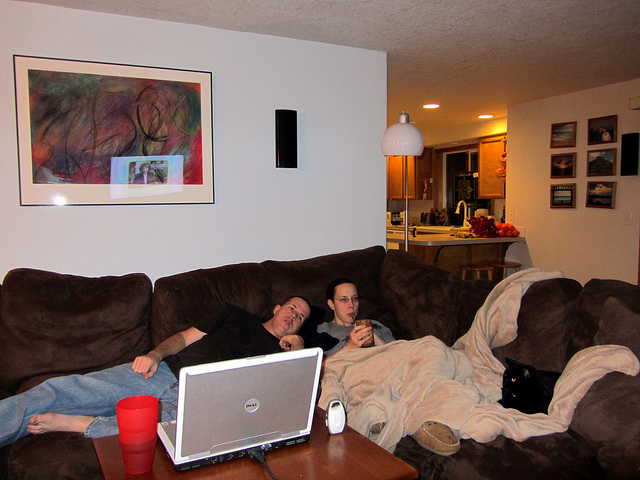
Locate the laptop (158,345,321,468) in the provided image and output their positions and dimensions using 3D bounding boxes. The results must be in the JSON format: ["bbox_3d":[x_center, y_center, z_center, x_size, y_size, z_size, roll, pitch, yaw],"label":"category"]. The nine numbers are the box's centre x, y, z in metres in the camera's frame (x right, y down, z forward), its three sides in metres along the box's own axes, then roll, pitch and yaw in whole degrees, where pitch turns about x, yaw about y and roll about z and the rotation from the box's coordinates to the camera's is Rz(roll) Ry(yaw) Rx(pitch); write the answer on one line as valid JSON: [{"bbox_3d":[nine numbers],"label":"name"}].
[{"bbox_3d":[-0.333,0.604,2.045,0.579,0.435,0.449,0,14,-23],"label":"laptop"}]

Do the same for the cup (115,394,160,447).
[{"bbox_3d":[-0.693,0.713,1.868,0.152,0.179,0.147,-2,0,0],"label":"cup"}]

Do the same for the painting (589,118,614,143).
[{"bbox_3d":[3.051,-1.190,5.270,0.028,0.247,0.276,-4,7,-25],"label":"painting"}]

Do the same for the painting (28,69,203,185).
[{"bbox_3d":[-1.485,-0.801,3.421,0.841,0.604,0.015,-1,2,-22],"label":"painting"}]

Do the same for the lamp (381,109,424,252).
[{"bbox_3d":[0.682,-0.457,4.038,0.313,1.169,0.758,0,7,8],"label":"lamp"}]

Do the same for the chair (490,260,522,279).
[{"bbox_3d":[2.114,0.330,5.577,0.216,0.281,0.218,-1,1,-35],"label":"chair"}]

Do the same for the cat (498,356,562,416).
[{"bbox_3d":[1.099,0.759,2.542,0.269,0.132,0.228,6,13,1],"label":"cat"}]

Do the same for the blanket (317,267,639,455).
[{"bbox_3d":[0.746,0.759,2.613,1.062,0.424,1.024,-5,16,-9],"label":"blanket"}]
